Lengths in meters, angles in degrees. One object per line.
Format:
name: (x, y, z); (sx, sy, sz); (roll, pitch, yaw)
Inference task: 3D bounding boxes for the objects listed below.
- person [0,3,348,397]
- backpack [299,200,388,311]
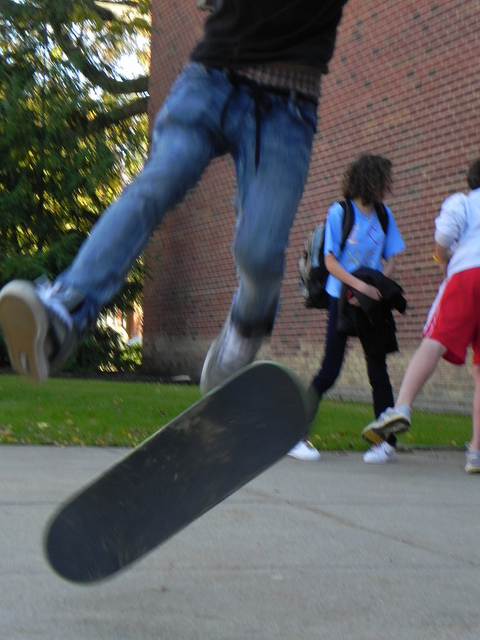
person: (-0.109, -0.320, 1.596); (0.250, 0.969, 0.808); (1, -3, 45)
backpack: (0.622, -0.378, 3.905); (0.423, 0.603, 0.627); (-13, 16, -29)
